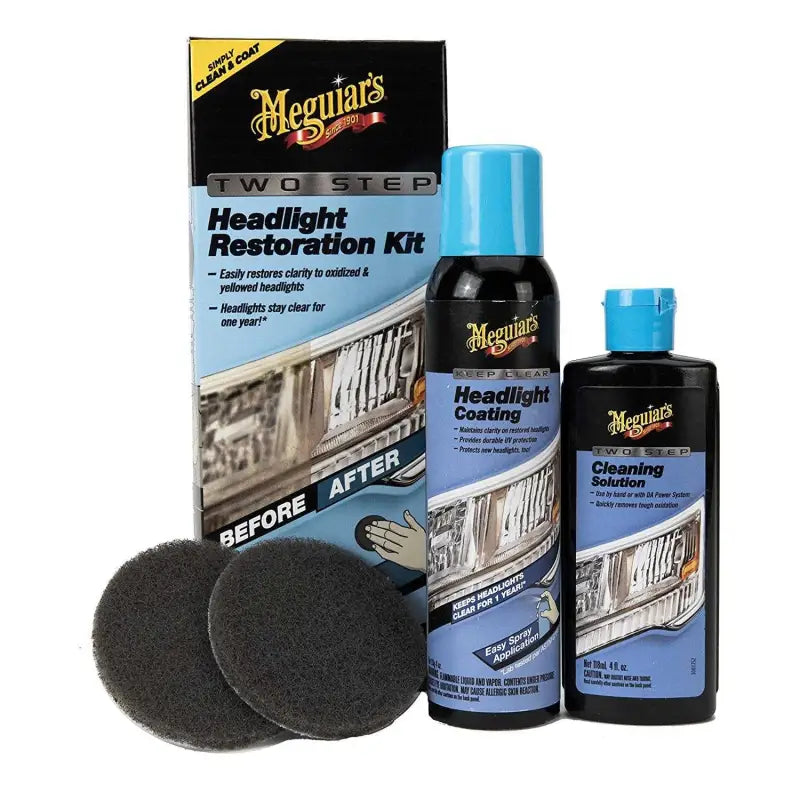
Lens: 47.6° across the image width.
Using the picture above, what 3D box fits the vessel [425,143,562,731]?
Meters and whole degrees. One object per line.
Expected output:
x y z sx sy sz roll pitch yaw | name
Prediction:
0.137 0.061 1.353 0.198 0.859 0.215 -2 13 8 | vessel

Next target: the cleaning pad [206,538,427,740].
-0.119 0.368 1.417 0.335 0.254 0.204 -6 13 -17 | cleaning pad
